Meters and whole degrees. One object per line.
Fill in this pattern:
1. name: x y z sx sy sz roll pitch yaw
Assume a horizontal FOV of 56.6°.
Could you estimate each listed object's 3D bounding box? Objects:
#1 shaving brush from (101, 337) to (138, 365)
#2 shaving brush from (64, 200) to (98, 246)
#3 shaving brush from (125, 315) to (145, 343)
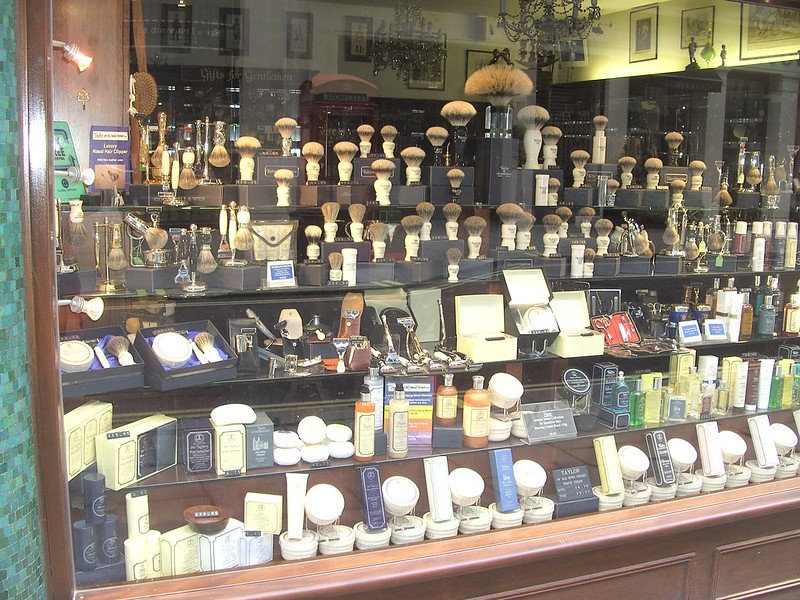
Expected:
1. shaving brush: -0.921 0.165 2.435 0.058 0.115 0.050 -35 10 -5
2. shaving brush: -1.048 -0.248 2.408 0.023 0.141 0.073 9 16 44
3. shaving brush: -0.898 0.098 2.479 0.058 0.076 0.031 7 -16 -14
